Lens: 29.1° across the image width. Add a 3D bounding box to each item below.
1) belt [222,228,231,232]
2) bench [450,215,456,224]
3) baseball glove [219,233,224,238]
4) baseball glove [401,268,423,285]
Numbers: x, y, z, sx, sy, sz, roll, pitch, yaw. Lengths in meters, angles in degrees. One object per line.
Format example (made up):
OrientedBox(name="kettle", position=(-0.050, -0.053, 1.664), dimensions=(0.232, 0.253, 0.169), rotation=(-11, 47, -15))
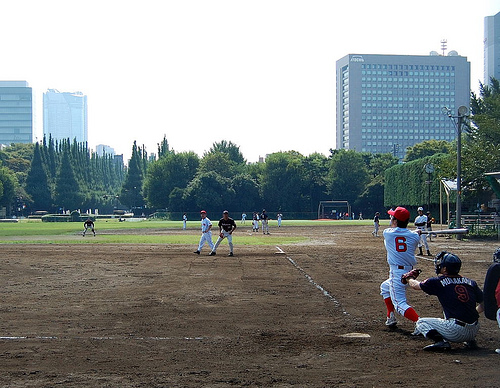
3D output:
OrientedBox(name="belt", position=(-1.088, 1.683, 45.355), dimensions=(0.378, 0.165, 0.085), rotation=(7, 15, 26))
OrientedBox(name="bench", position=(12.664, 1.574, 60.108), dimensions=(0.102, 0.397, 0.418), rotation=(9, -7, -12))
OrientedBox(name="baseball glove", position=(-1.326, 1.945, 45.352), dimensions=(0.180, 0.230, 0.479), rotation=(-1, 14, -5))
OrientedBox(name="baseball glove", position=(5.313, 2.561, 31.060), dimensions=(0.568, 0.209, 0.420), rotation=(-30, -14, -38))
